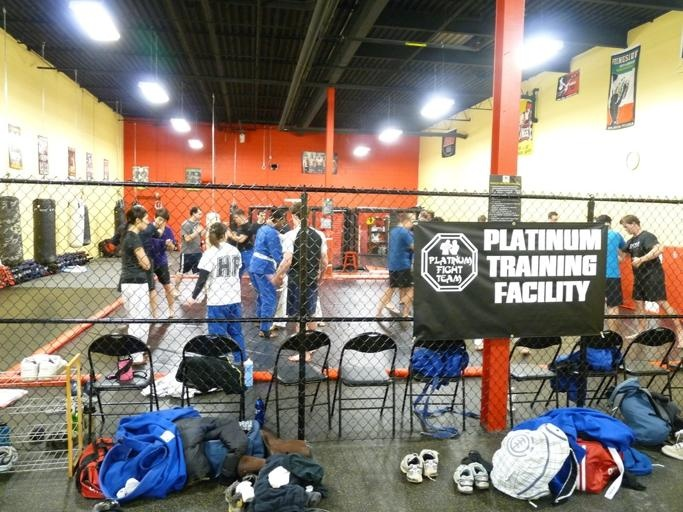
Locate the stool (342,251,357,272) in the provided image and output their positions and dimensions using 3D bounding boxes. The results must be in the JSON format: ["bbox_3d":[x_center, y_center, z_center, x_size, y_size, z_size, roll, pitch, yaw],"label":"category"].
[{"bbox_3d":[0.296,0.179,17.841,0.486,0.623,0.516,1,2,0],"label":"stool"}]

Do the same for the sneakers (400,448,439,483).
[{"bbox_3d":[0.921,2.435,6.615,0.277,0.137,0.385,1,6,4],"label":"sneakers"}]

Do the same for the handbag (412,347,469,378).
[{"bbox_3d":[1.230,1.359,7.161,0.538,0.221,0.424,2,-2,-3],"label":"handbag"}]

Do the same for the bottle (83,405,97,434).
[{"bbox_3d":[-3.010,1.966,6.825,0.110,0.445,0.338,0,2,-24],"label":"bottle"}]

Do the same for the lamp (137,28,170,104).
[{"bbox_3d":[-4.624,-4.794,14.113,0.511,1.557,0.854,-9,-31,-1],"label":"lamp"}]

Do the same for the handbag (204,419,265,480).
[{"bbox_3d":[-1.191,2.187,6.468,0.557,0.225,0.559,-6,44,-25],"label":"handbag"}]

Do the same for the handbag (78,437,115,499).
[{"bbox_3d":[-2.775,2.370,6.387,0.390,0.207,0.520,1,6,-12],"label":"handbag"}]
